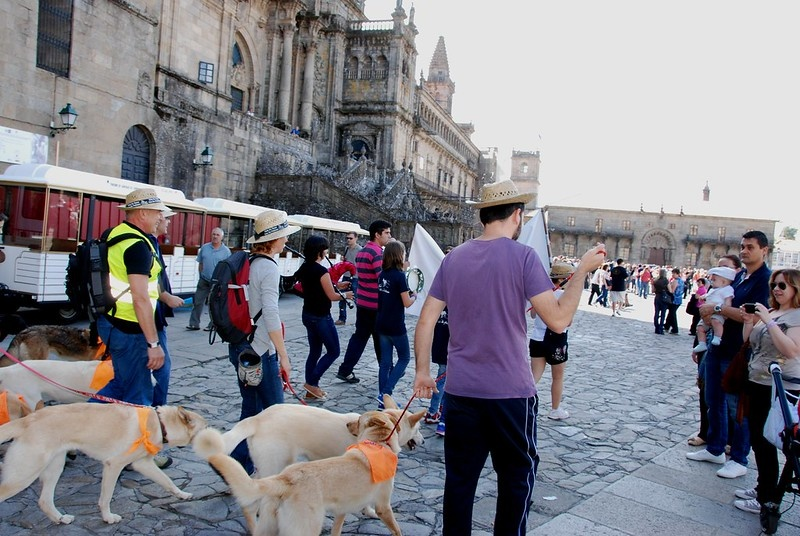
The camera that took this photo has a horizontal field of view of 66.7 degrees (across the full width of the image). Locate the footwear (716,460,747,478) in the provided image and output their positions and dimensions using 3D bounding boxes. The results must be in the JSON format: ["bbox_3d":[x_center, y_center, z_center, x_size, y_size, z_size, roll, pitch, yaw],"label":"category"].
[{"bbox_3d":[4.049,2.463,7.465,0.399,0.168,0.163,-2,-6,-8],"label":"footwear"}]

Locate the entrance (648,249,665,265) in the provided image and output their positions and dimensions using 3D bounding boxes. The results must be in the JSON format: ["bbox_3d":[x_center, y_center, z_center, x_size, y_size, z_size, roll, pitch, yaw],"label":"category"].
[{"bbox_3d":[33.874,-1.601,80.545,2.022,2.242,0.299,-1,17,4],"label":"entrance"}]

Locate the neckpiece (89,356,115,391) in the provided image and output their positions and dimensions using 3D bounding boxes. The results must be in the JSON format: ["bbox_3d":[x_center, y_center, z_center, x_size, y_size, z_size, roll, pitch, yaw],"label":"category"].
[{"bbox_3d":[-3.405,1.238,7.028,0.275,0.321,0.096,21,-13,2],"label":"neckpiece"}]

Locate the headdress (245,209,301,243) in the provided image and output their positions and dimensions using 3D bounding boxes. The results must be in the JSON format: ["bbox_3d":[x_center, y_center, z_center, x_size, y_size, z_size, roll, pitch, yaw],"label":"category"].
[{"bbox_3d":[-1.396,-0.508,7.052,0.479,0.216,0.492,-7,13,20],"label":"headdress"}]

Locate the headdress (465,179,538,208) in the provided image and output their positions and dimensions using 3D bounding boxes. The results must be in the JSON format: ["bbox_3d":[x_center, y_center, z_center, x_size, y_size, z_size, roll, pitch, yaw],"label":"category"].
[{"bbox_3d":[0.959,-0.675,5.592,0.553,0.264,0.402,5,1,6],"label":"headdress"}]

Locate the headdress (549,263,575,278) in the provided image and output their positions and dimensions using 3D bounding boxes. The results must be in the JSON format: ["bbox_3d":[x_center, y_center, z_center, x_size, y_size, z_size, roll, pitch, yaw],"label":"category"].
[{"bbox_3d":[2.336,0.027,8.903,0.318,0.113,0.356,-7,11,-19],"label":"headdress"}]

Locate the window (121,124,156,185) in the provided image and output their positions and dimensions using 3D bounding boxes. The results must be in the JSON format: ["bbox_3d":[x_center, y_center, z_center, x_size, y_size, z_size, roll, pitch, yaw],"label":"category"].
[{"bbox_3d":[-10.547,-4.687,24.638,0.451,1.746,1.459,5,1,25],"label":"window"}]

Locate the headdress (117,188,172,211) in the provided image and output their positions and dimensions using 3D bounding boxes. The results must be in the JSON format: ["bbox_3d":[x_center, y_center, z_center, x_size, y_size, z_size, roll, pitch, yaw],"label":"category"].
[{"bbox_3d":[-2.805,-0.754,6.904,0.306,0.149,0.368,3,1,23],"label":"headdress"}]

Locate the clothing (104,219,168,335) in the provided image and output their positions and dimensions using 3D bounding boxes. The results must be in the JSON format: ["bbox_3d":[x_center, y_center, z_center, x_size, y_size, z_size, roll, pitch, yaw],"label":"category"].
[{"bbox_3d":[-2.918,0.127,6.734,0.668,1.674,1.189,-3,6,-24],"label":"clothing"}]

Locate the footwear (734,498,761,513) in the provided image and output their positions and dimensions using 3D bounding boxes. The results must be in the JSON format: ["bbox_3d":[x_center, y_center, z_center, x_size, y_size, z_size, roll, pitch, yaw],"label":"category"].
[{"bbox_3d":[3.859,2.654,6.782,0.265,0.111,0.101,16,-18,25],"label":"footwear"}]

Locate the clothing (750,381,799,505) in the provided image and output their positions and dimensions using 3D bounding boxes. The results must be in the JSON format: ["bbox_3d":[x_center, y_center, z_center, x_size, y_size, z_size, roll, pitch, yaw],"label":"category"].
[{"bbox_3d":[3.932,1.923,6.627,0.383,1.480,0.252,6,2,41],"label":"clothing"}]

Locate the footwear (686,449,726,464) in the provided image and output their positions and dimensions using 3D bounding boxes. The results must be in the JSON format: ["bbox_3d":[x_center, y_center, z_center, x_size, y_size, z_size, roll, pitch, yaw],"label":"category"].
[{"bbox_3d":[3.935,2.433,7.938,0.505,0.214,0.193,5,-3,13],"label":"footwear"}]

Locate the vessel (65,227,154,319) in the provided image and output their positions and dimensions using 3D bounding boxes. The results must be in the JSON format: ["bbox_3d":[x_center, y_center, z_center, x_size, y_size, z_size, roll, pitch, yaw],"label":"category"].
[{"bbox_3d":[-3.499,0.059,7.100,1.123,1.183,0.835,3,3,-17],"label":"vessel"}]

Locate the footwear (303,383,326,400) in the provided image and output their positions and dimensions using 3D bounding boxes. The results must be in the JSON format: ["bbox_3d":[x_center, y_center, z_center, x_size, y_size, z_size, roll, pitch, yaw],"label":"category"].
[{"bbox_3d":[-1.280,1.890,9.294,0.315,0.235,0.188,0,1,-8],"label":"footwear"}]
